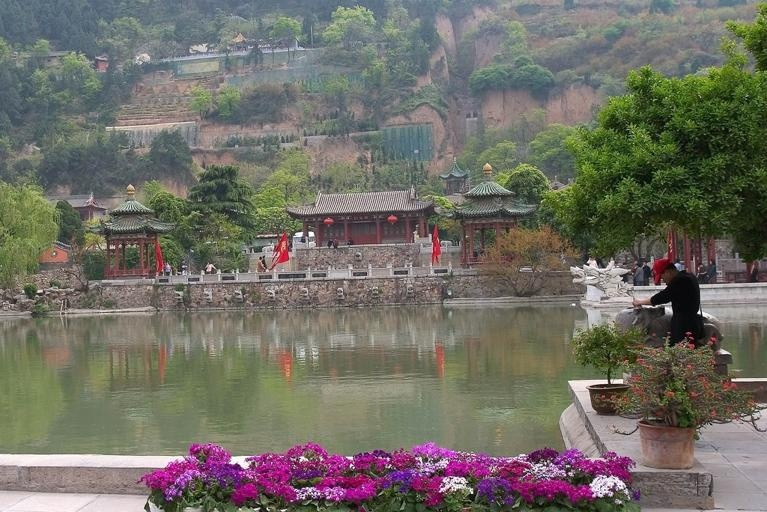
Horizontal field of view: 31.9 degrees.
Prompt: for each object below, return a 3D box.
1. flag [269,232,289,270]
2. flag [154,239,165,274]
[{"bbox_3d":[-9.854,-0.464,125.492,0.400,3.939,3.638,1,-4,-36],"label":"flag"},{"bbox_3d":[-20.674,-0.123,123.644,0.834,3.203,3.546,-3,0,-10],"label":"flag"}]
